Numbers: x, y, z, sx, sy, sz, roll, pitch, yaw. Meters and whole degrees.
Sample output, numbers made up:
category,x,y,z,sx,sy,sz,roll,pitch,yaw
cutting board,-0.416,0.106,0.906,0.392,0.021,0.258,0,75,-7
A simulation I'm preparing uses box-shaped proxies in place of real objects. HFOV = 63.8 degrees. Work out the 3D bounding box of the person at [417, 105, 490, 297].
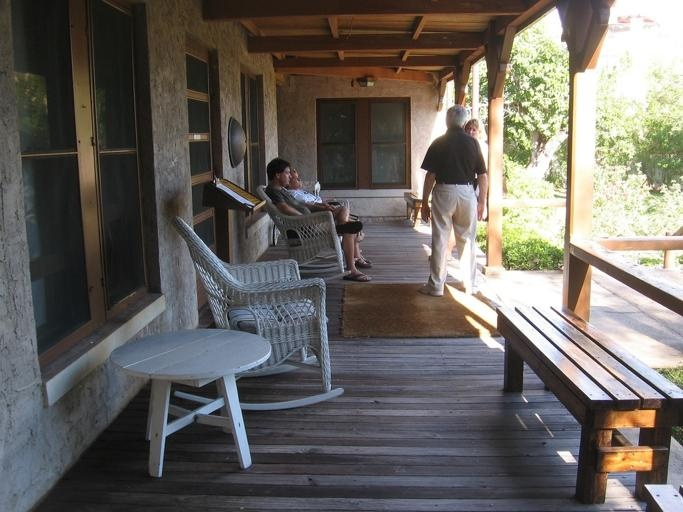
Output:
category,x,y,z,sx,sy,sz,roll,pitch,yaw
person,1.175,-0.542,5.675,0.688,1.945,0.421,-1,13,0

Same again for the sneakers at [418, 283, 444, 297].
category,x,y,z,sx,sy,sz,roll,pitch,yaw
sneakers,0.971,0.362,5.895,0.107,0.119,0.273,-4,13,-25

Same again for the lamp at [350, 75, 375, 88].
category,x,y,z,sx,sy,sz,roll,pitch,yaw
lamp,0.469,-3.629,11.416,0.260,0.179,0.264,5,44,6

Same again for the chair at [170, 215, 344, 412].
category,x,y,z,sx,sy,sz,roll,pitch,yaw
chair,-0.575,0.409,3.612,0.775,0.929,0.865,9,-16,-30

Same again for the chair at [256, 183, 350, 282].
category,x,y,z,sx,sy,sz,roll,pitch,yaw
chair,-0.303,-0.248,6.472,1.207,1.148,0.988,-2,8,4

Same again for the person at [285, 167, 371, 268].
category,x,y,z,sx,sy,sz,roll,pitch,yaw
person,-0.256,-0.395,6.328,1.119,1.453,0.609,-3,13,9

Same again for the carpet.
category,x,y,z,sx,sy,sz,roll,pitch,yaw
carpet,0.749,0.492,5.437,1.483,0.080,1.709,-1,14,0

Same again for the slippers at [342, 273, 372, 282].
category,x,y,z,sx,sy,sz,roll,pitch,yaw
slippers,0.186,0.236,6.536,0.251,0.061,0.121,3,6,30
